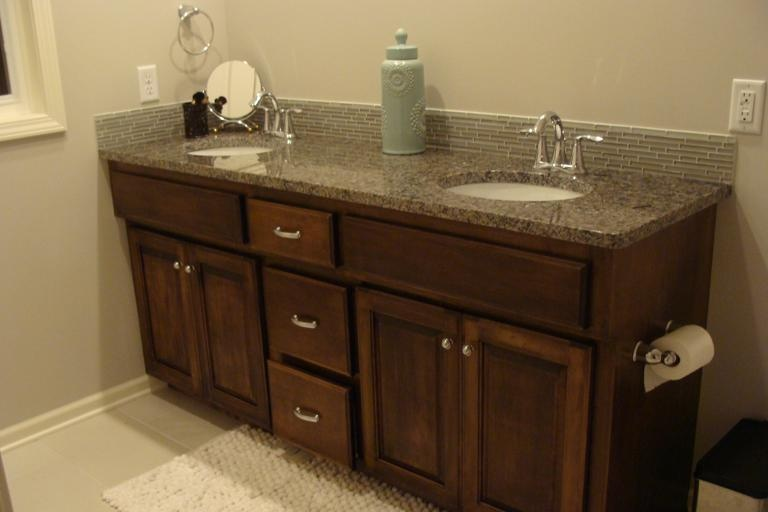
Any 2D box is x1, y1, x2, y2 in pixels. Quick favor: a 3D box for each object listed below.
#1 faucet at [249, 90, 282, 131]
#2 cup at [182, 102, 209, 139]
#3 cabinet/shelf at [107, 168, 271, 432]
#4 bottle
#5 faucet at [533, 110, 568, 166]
[{"bbox_3d":[-0.564,-0.683,2.753,0.119,0.176,0.247,-14,27,-27],"label":"faucet"},{"bbox_3d":[-0.909,-0.662,2.805,0.101,0.156,0.198,8,25,22],"label":"cup"},{"bbox_3d":[-0.709,0.125,2.671,0.833,1.152,0.647,9,15,26],"label":"cabinet/shelf"},{"bbox_3d":[0.079,-0.615,2.309,0.174,0.407,0.110,-2,23,0],"label":"bottle"},{"bbox_3d":[0.610,-0.421,2.084,0.117,0.205,0.213,6,25,16],"label":"faucet"}]
